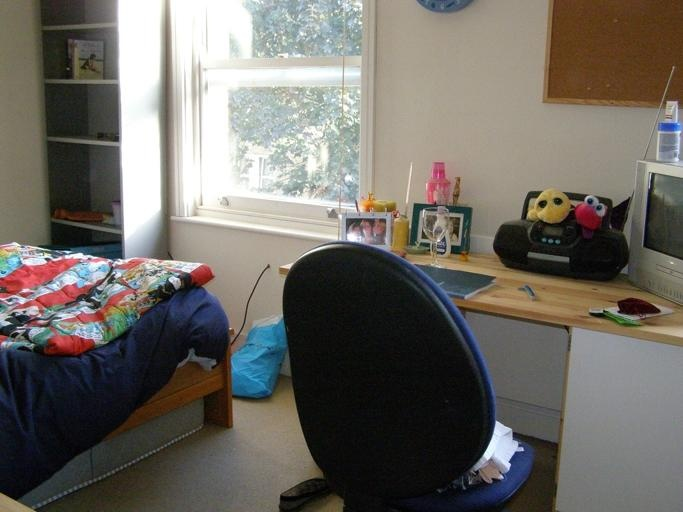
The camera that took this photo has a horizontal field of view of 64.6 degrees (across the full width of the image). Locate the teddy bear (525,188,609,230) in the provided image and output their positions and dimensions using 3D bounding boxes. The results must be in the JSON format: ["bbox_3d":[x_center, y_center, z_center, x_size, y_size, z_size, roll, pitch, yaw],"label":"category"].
[{"bbox_3d":[0.915,-0.190,2.197,0.303,0.147,0.150,8,13,26],"label":"teddy bear"}]

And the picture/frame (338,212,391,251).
[{"bbox_3d":[0.099,-0.108,2.238,0.175,0.144,0.014,2,0,-2],"label":"picture/frame"}]

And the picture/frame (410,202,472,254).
[{"bbox_3d":[0.467,-0.128,2.504,0.215,0.204,0.017,5,4,39],"label":"picture/frame"}]

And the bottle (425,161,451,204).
[{"bbox_3d":[0.473,-0.358,2.638,0.117,0.198,0.253,3,12,9],"label":"bottle"}]

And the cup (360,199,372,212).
[{"bbox_3d":[0.118,-0.246,2.686,0.046,0.057,0.052,8,-11,-27],"label":"cup"}]
